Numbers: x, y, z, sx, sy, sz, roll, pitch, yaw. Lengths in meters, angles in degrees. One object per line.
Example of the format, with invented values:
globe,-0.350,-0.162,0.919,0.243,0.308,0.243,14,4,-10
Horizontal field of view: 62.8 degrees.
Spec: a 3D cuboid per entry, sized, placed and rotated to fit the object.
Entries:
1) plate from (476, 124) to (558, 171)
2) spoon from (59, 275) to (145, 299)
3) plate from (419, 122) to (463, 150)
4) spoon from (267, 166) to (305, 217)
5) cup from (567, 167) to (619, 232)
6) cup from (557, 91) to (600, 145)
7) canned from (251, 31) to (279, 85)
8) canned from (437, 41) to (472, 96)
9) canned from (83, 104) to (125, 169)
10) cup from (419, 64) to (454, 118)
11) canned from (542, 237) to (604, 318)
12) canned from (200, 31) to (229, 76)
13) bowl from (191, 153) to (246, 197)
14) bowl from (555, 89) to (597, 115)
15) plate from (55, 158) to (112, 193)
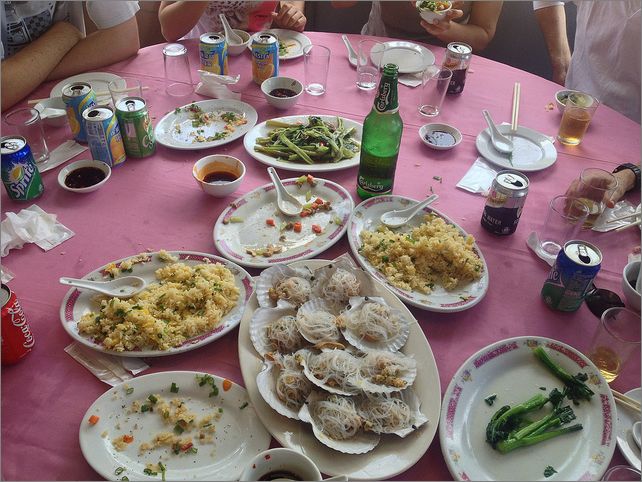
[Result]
plate,1.077,-0.479,2.848,0.285,0.038,0.326,-5,48,-7
spoon,-0.878,0.224,2.164,0.344,0.068,0.136,3,48,-13
plate,0.661,-0.585,2.921,0.180,0.052,0.186,31,58,20
spoon,-0.169,-0.211,2.526,0.092,0.055,0.313,-13,53,-15
cup,1.286,-0.184,2.465,0.122,0.223,0.225,18,62,15
cup,1.415,-0.660,2.905,0.147,0.250,0.155,4,32,-2
canned,-0.347,-1.103,3.187,0.135,0.268,0.149,9,39,2
canned,0.828,-1.067,3.214,0.134,0.271,0.144,-24,49,-21
canned,-1.104,-0.526,2.668,0.137,0.290,0.157,-4,46,-11
cup,0.688,-0.878,3.103,0.182,0.231,0.180,0,44,0
canned,1.040,0.152,2.163,0.169,0.251,0.185,35,55,27
canned,-0.653,-1.112,3.181,0.131,0.273,0.144,24,47,17
bowl,-0.528,-0.345,2.663,0.173,0.116,0.185,2,-2,0
bowl,1.450,-0.790,2.998,0.164,0.086,0.191,-9,52,1
plate,-1.238,-0.319,2.683,0.293,0.090,0.299,-10,-9,39
